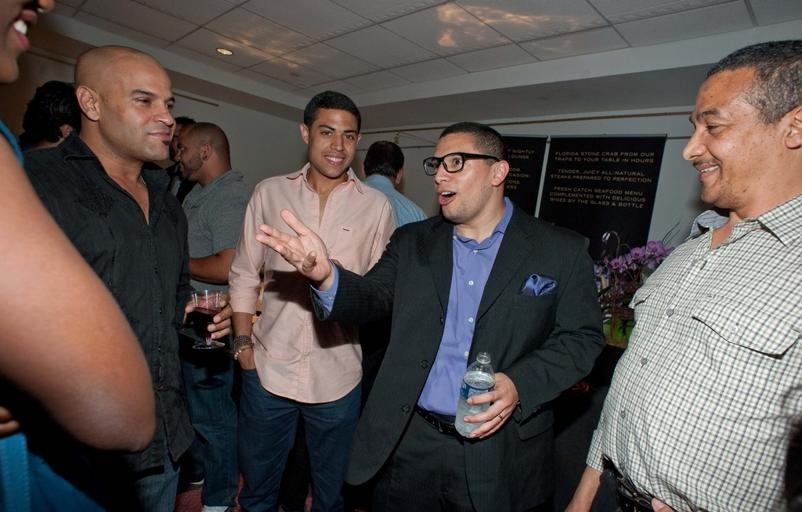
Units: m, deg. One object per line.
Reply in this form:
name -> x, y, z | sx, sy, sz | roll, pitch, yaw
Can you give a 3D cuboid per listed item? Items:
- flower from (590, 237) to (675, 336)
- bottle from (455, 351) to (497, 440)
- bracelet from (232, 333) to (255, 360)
flower -> 1.591, 0.180, 3.392 | 0.499, 0.609, 0.482 | -11, -7, -2
bottle -> 0.324, 0.631, 2.154 | 0.163, 0.388, 0.284 | 2, 10, 8
bracelet -> -0.924, 0.508, 2.870 | 0.114, 0.110, 0.166 | -2, 10, -16
